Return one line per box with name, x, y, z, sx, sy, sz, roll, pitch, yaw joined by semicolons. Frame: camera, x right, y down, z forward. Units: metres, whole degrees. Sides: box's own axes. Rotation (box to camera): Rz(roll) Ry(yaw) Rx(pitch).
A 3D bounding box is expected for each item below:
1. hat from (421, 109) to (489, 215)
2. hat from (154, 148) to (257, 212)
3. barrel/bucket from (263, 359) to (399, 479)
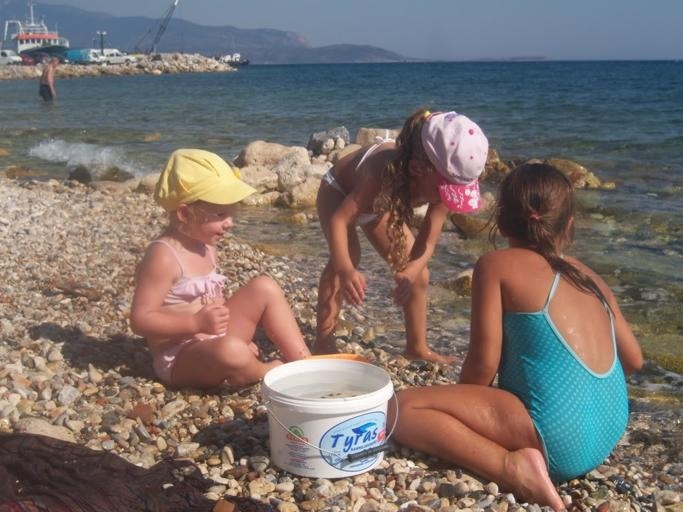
hat;0.635;-0.549;3.892;0.362;0.570;0.287;-16;-6;-30
hat;-0.769;-0.442;3.843;0.471;0.255;0.356;1;23;11
barrel/bucket;-0.074;0.837;3.476;0.652;0.418;0.627;3;6;0
